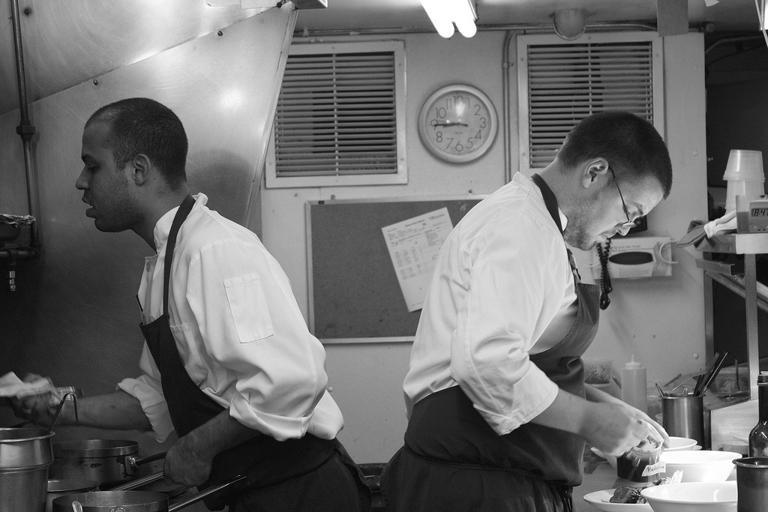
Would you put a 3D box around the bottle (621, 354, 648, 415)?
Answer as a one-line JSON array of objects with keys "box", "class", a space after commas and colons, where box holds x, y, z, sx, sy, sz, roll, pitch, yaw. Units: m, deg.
[{"box": [1.217, 0.593, 4.124, 0.123, 0.238, 0.129, -6, 16, 2], "class": "bottle"}]

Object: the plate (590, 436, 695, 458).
[{"box": [0.921, 0.671, 3.010, 0.207, 0.088, 0.219, 2, -7, -22], "class": "plate"}]

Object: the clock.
[{"box": [0.414, -0.788, 4.878, 0.436, 0.463, 0.077, 1, 0, 2], "class": "clock"}]

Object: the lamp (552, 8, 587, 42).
[{"box": [1.024, -1.291, 4.726, 0.135, 0.120, 0.156, -2, 0, -2], "class": "lamp"}]

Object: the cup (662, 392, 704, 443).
[{"box": [1.266, 0.670, 3.613, 0.184, 0.217, 0.188, 0, 0, 0], "class": "cup"}]

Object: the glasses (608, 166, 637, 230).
[{"box": [0.806, -0.195, 2.889, 0.052, 0.184, 0.174, -4, -6, 13], "class": "glasses"}]
